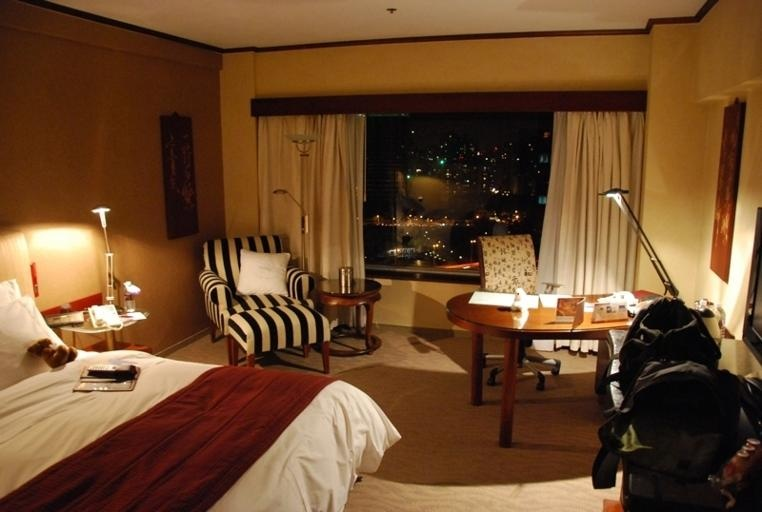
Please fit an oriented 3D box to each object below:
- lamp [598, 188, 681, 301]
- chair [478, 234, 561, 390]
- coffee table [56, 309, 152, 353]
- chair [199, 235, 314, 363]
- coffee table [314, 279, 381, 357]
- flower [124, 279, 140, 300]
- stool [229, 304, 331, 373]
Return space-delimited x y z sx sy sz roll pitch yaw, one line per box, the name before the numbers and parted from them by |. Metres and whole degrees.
lamp | 2.440 -0.116 5.257 0.751 1.043 1.312 3 7 27
chair | 1.381 0.405 5.520 0.950 1.421 1.017 3 0 28
coffee table | -2.490 0.683 4.941 0.496 0.474 0.506 15 20 32
chair | -1.278 0.479 6.015 1.142 1.163 1.586 -7 16 -33
coffee table | -0.365 0.714 6.177 0.755 0.663 0.744 0 -3 -8
flower | -2.272 0.303 5.152 0.193 0.193 0.264 4 -4 -33
stool | -1.053 0.835 5.654 0.893 0.613 0.641 -7 10 -34
